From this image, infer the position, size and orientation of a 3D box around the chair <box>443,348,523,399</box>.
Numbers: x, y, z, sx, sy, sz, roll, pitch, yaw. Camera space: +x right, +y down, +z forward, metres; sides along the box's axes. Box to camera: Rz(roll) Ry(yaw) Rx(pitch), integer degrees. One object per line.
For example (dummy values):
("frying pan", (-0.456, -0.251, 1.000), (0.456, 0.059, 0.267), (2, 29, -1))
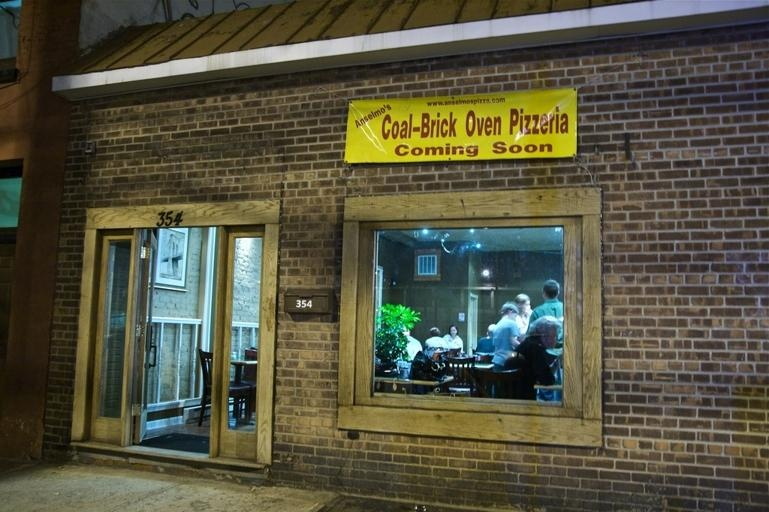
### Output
("chair", (1.231, 1.377, 8.736), (0.623, 0.871, 0.624), (-1, -1, 21))

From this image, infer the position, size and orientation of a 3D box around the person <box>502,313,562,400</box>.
("person", (1.759, 1.391, 8.593), (0.666, 1.312, 0.596), (6, 9, 16))

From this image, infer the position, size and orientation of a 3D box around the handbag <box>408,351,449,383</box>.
("handbag", (0.521, 1.330, 8.663), (0.347, 0.387, 0.170), (4, -5, 20))

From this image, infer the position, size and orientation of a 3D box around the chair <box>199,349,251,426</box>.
("chair", (-2.169, 1.816, 9.826), (0.734, 0.964, 0.702), (4, -6, -1))
